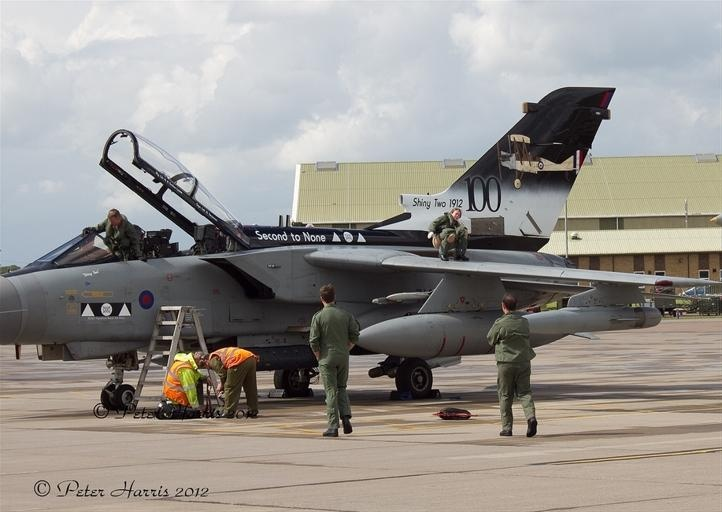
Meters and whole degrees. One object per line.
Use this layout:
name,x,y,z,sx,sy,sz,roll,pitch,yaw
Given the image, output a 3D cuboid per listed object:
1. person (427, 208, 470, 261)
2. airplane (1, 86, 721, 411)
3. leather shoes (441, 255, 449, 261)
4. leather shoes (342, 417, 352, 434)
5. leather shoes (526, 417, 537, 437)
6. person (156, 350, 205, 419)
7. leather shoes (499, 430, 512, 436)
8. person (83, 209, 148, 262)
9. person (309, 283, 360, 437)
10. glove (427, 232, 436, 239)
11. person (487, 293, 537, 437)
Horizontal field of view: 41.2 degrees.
person,1.728,-0.466,18.952,0.795,1.062,0.657,-3,-18,31
airplane,-0.547,0.317,18.642,9.784,3.870,8.275,-1,0,-26
leather shoes,1.581,0.038,18.712,0.104,0.109,0.263,2,4,7
leather shoes,-0.226,2.443,13.758,0.129,0.235,0.241,-9,18,-4
leather shoes,2.354,2.403,13.369,0.127,0.291,0.213,0,11,-10
person,-3.092,2.230,16.022,0.744,0.996,1.136,-2,-7,-25
leather shoes,2.006,2.497,13.481,0.167,0.091,0.161,-4,-6,12
person,-4.370,-0.338,17.100,1.050,0.853,0.729,-1,-7,-18
person,-0.395,1.507,13.859,0.668,2.172,0.577,-4,-7,8
glove,1.366,-0.406,19.235,0.134,0.114,0.057,4,13,0
person,2.146,1.562,13.765,0.634,2.011,0.690,-4,-7,7
